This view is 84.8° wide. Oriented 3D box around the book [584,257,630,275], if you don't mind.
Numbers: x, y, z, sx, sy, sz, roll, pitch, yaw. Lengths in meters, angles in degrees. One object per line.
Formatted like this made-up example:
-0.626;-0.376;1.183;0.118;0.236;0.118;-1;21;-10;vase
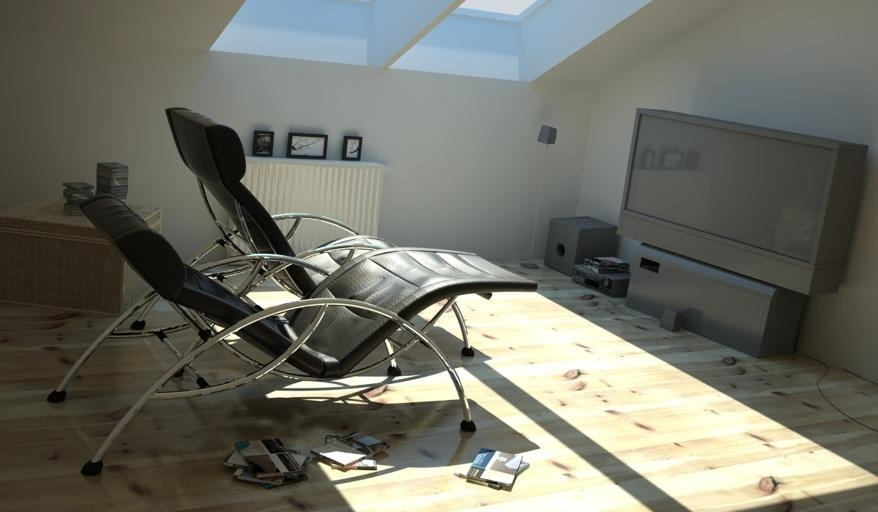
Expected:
1.977;0.105;5.569;0.323;0.054;0.297;-4;13;-24;book

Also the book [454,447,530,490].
0.319;1.220;2.756;0.223;0.036;0.188;6;20;17;book

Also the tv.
2.876;-0.502;4.458;0.400;1.076;2.262;-14;25;-39;tv

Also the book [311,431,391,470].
-0.498;1.123;2.772;0.214;0.030;0.233;-10;19;-40;book

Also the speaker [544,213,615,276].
1.799;-0.088;6.124;0.916;0.453;0.709;8;7;-3;speaker

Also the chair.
-0.865;0.130;2.945;2.469;1.941;1.421;-7;19;-29;chair

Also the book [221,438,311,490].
-0.942;1.130;2.609;0.292;0.056;0.253;1;15;-28;book
